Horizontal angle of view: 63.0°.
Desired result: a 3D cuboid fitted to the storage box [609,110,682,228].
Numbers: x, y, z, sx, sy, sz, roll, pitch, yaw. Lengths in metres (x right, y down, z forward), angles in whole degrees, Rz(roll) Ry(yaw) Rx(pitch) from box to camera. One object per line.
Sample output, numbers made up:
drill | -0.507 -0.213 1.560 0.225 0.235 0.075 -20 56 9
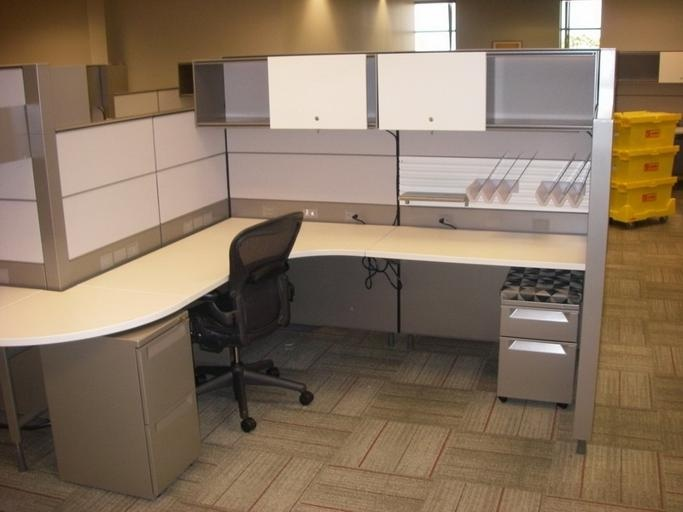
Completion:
storage box | 3.623 -1.042 6.744 0.858 1.328 0.350 -8 18 -16

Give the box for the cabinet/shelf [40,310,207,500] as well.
cabinet/shelf | -1.138 0.783 2.993 0.646 0.825 0.606 2 10 27

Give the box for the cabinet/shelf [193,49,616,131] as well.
cabinet/shelf | 0.491 -1.131 3.820 2.349 0.504 0.337 9 21 29

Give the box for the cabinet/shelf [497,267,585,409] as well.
cabinet/shelf | 1.287 0.532 3.620 0.471 0.796 0.572 4 15 21

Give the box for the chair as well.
chair | -0.617 0.329 3.453 0.763 1.190 0.758 9 14 26
